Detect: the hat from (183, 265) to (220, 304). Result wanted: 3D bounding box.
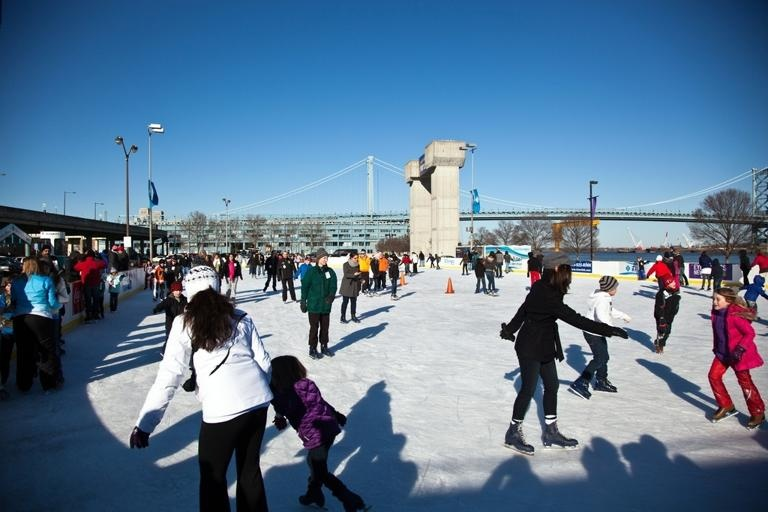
[{"bbox_3d":[-1.959,0.289,5.626,0.299,0.395,0.378,2,-5,-22],"label":"hat"}]

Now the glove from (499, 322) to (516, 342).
[{"bbox_3d":[1.706,1.039,7.255,0.177,0.271,0.445,2,10,11],"label":"glove"}]

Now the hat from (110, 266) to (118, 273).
[{"bbox_3d":[-8.372,0.440,16.343,0.179,0.184,0.142,-8,11,-15],"label":"hat"}]

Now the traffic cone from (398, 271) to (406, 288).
[{"bbox_3d":[0.904,1.235,27.929,0.564,0.785,0.566,-3,6,24],"label":"traffic cone"}]

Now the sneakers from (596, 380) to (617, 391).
[{"bbox_3d":[3.704,2.163,8.778,0.313,0.142,0.168,-1,6,7],"label":"sneakers"}]

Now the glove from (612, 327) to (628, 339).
[{"bbox_3d":[3.071,1.036,6.855,0.203,0.058,0.213,8,50,33],"label":"glove"}]

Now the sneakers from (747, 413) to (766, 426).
[{"bbox_3d":[5.356,2.347,7.568,0.392,0.164,0.134,1,9,-41],"label":"sneakers"}]

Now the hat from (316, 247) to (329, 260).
[{"bbox_3d":[-1.377,-0.035,11.459,0.267,0.210,0.205,-5,-3,44],"label":"hat"}]

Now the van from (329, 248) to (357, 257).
[{"bbox_3d":[-4.391,-0.398,54.626,2.739,0.909,1.962,-1,3,7],"label":"van"}]

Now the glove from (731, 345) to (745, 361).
[{"bbox_3d":[4.977,1.379,7.407,0.127,0.225,0.079,26,2,37],"label":"glove"}]
